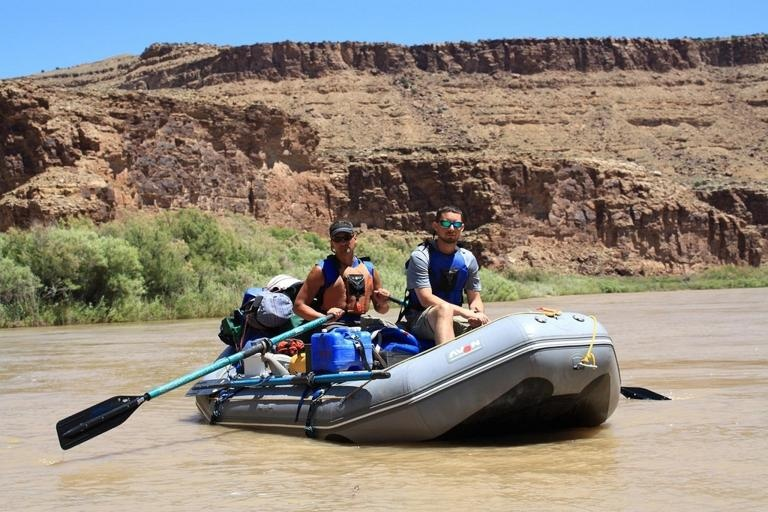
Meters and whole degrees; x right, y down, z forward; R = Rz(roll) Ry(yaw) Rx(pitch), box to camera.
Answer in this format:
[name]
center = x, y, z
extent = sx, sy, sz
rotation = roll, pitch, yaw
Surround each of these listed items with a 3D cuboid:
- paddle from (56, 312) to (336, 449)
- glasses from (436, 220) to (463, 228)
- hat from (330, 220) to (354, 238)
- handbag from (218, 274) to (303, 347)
[paddle]
center = -3.280, 2.243, 16.928
extent = 4.514, 0.568, 0.299
rotation = -21, -45, -2
[glasses]
center = 1.090, -0.507, 15.557
extent = 0.376, 0.138, 0.134
rotation = -2, 8, -8
[hat]
center = -0.693, -0.445, 15.832
extent = 0.267, 0.183, 0.331
rotation = -7, -26, -1
[handbag]
center = -2.041, 0.897, 16.279
extent = 1.456, 0.583, 1.105
rotation = -18, 18, 24
